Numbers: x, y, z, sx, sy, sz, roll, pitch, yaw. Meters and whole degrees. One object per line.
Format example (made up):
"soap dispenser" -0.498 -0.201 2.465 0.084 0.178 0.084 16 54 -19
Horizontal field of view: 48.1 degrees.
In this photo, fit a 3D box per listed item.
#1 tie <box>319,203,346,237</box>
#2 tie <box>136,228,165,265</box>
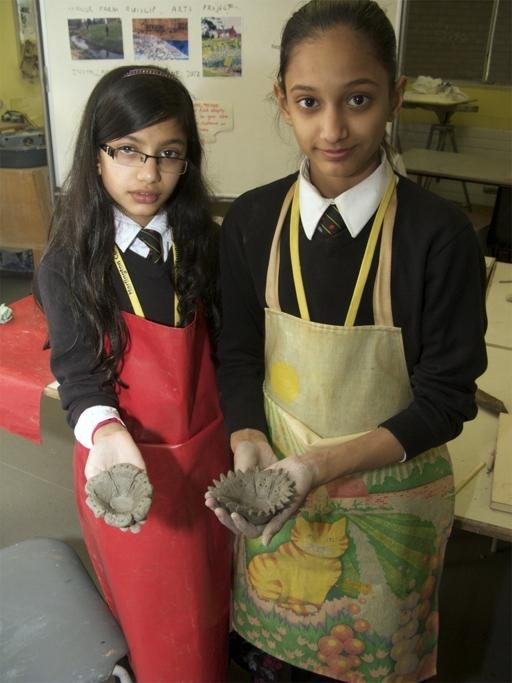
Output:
"tie" 0.122 -0.198 0.928 0.016 0.048 0.037 -7 47 -42
"tie" -0.200 -0.183 1.103 0.039 0.064 0.016 -27 24 -28
